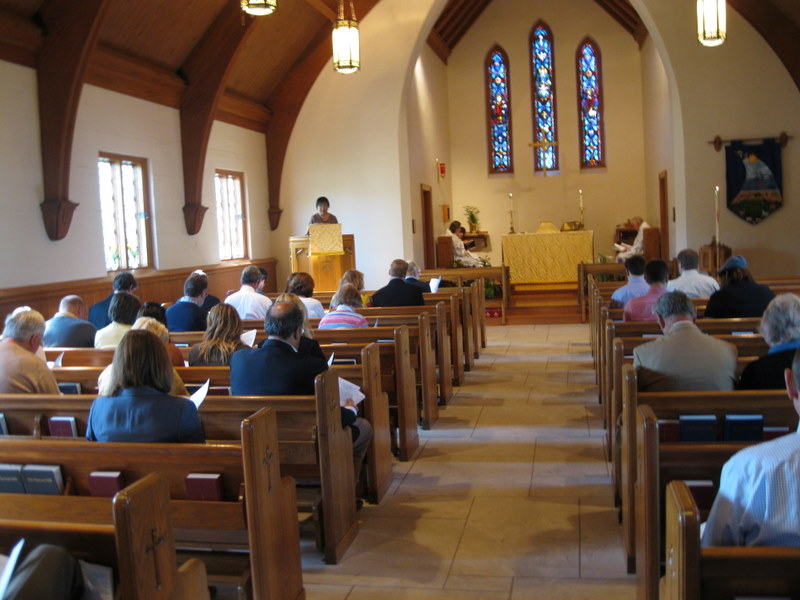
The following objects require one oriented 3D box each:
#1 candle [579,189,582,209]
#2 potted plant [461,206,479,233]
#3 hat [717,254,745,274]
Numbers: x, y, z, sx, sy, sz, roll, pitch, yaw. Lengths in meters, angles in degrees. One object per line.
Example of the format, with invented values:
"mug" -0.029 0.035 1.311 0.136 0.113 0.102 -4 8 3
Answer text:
"candle" 3.983 -2.304 16.346 0.088 0.350 0.249 -1 8 11
"potted plant" 1.572 -1.817 16.506 0.412 0.767 0.526 0 -1 3
"hat" 2.808 -0.290 6.178 0.162 0.146 0.260 3 5 -3
